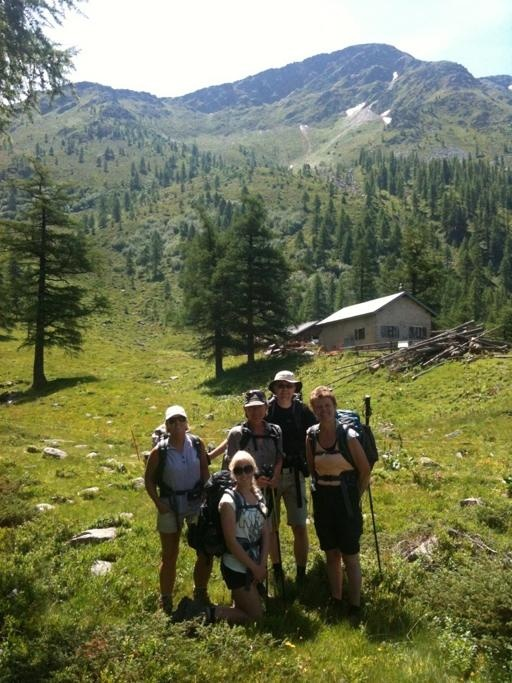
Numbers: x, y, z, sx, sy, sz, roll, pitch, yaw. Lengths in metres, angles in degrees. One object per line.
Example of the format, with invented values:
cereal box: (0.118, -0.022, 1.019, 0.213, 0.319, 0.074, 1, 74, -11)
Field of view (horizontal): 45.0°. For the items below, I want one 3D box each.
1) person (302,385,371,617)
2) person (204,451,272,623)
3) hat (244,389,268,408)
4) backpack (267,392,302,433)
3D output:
person: (0.945, 1.855, 7.374, 0.827, 2.624, 0.394, 4, 8, 42)
person: (-0.137, 2.104, 6.688, 0.467, 1.777, 0.816, 1, 6, 20)
hat: (-0.010, 0.706, 7.708, 0.276, 0.191, 0.390, -1, 6, 0)
backpack: (0.411, 0.934, 8.324, 0.531, 0.765, 0.402, 1, -6, -7)
